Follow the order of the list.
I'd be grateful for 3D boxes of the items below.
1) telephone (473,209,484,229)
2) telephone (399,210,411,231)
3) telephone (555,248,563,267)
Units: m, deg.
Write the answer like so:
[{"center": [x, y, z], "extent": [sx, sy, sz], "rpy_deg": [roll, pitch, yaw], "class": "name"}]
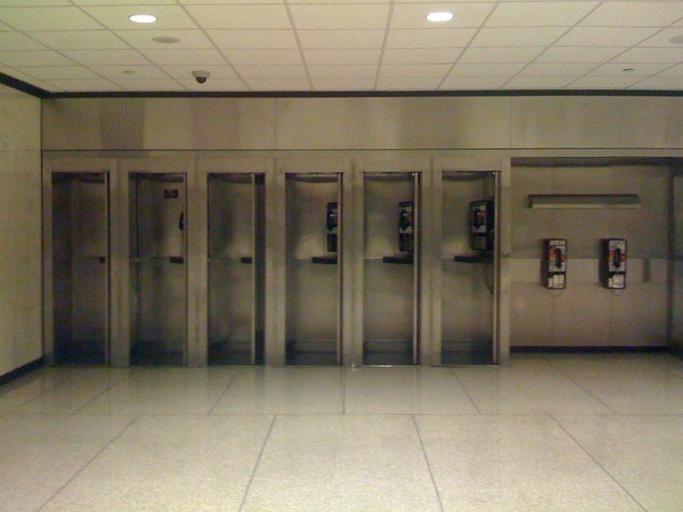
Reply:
[{"center": [1.915, -0.512, 8.536], "extent": [0.169, 0.271, 0.049], "rpy_deg": [3, 12, 15], "class": "telephone"}, {"center": [0.890, -0.504, 8.566], "extent": [0.169, 0.250, 0.055], "rpy_deg": [1, 12, 5], "class": "telephone"}, {"center": [3.127, 0.023, 8.789], "extent": [0.106, 0.276, 0.050], "rpy_deg": [0, 12, 1], "class": "telephone"}]
